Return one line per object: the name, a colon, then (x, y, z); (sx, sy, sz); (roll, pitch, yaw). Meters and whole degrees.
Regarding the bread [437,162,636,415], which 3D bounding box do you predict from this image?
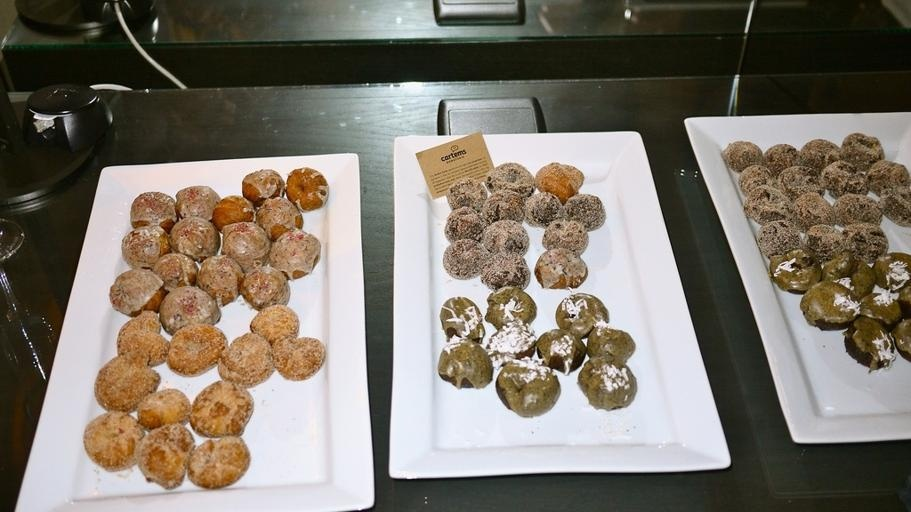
bread: (0.216, 0.093, 1.917); (0.495, 0.124, 0.696); (-2, 57, 0)
